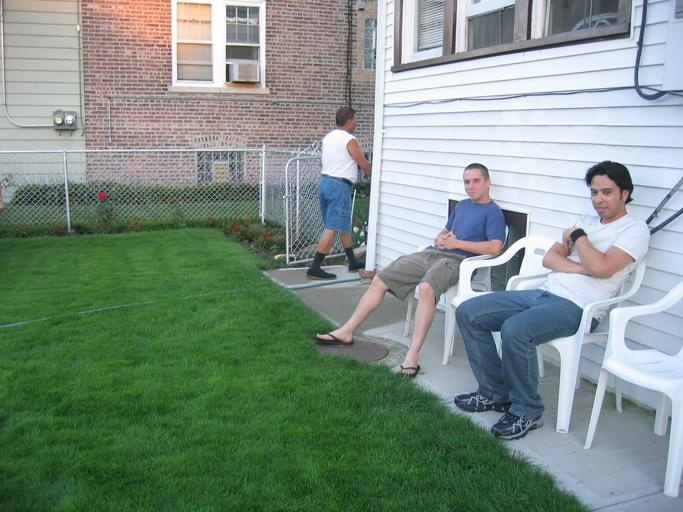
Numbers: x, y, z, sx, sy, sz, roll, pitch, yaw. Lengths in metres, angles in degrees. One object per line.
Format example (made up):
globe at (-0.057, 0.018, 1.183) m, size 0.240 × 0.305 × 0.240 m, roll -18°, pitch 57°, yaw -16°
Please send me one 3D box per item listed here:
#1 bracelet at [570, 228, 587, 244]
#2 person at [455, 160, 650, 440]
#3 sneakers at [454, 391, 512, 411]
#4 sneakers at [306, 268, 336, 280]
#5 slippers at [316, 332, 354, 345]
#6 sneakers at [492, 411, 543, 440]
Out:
bracelet at (1.782, -0.148, 3.941) m, size 0.103 × 0.085 × 0.108 m, roll -2°, pitch 0°, yaw 1°
person at (1.492, 0.231, 3.861) m, size 1.251 × 1.835 × 0.742 m, roll -5°, pitch 14°, yaw -24°
sneakers at (1.032, 1.100, 3.894) m, size 0.397 × 0.202 × 0.154 m, roll 4°, pitch 4°, yaw -4°
sneakers at (-0.287, 0.237, 7.257) m, size 0.438 × 0.206 × 0.163 m, roll -1°, pitch 3°, yaw -8°
slippers at (-0.046, 0.765, 4.912) m, size 0.320 × 0.091 × 0.132 m, roll 8°, pitch -5°, yaw -6°
sneakers at (1.233, 1.157, 3.607) m, size 0.435 × 0.127 × 0.151 m, roll -4°, pitch 14°, yaw -21°
